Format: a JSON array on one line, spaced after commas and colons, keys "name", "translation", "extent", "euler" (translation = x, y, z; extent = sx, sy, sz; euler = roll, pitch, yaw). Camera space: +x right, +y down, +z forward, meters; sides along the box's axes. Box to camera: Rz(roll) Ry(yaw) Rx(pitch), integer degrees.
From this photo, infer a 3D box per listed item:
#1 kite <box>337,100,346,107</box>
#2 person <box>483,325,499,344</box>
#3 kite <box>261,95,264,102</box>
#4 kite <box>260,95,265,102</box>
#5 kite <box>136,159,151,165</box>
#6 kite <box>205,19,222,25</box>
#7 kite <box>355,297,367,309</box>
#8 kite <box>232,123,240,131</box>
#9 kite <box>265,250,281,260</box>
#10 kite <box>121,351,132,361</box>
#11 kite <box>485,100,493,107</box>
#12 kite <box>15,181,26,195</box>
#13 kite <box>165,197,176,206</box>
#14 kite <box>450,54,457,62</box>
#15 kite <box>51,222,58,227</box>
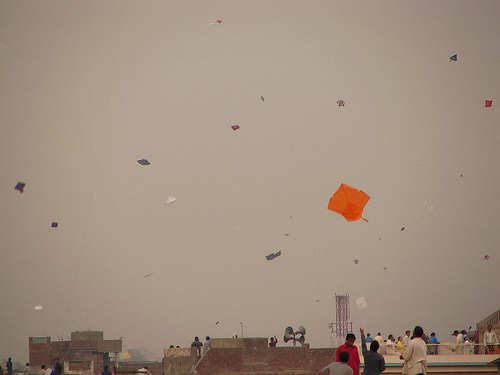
[{"name": "kite", "translation": [2.739, -2.508, 31.565], "extent": [0.130, 0.201, 0.085], "euler": [2, 1, 9]}, {"name": "person", "translation": [6.325, 3.837, 27.455], "extent": [0.355, 0.840, 0.242], "euler": [-1, -44, 10]}, {"name": "kite", "translation": [0.361, -2.675, 31.818], "extent": [0.122, 0.190, 0.075], "euler": [-8, 4, -2]}, {"name": "kite", "translation": [0.372, -2.675, 31.817], "extent": [0.109, 0.177, 0.078], "euler": [-4, -3, 7]}, {"name": "kite", "translation": [-3.255, -0.762, 31.942], "extent": [0.271, 0.168, 0.057], "euler": [3, -1, 2]}, {"name": "kite", "translation": [-1.106, -5.004, 32.089], "extent": [0.459, 0.139, 0.066], "euler": [-6, -28, 10]}, {"name": "kite", "translation": [3.254, 3.365, 30.772], "extent": [0.293, 0.312, 0.198], "euler": [-6, -28, 12]}, {"name": "kite", "translation": [-0.451, -1.801, 31.830], "extent": [0.161, 0.184, 0.061], "euler": [-1, -8, -1]}, {"name": "kite", "translation": [0.682, 2.030, 31.398], "extent": [0.537, 0.188, 0.247], "euler": [-17, -21, -5]}, {"name": "kite", "translation": [-3.696, 4.964, 31.213], "extent": [0.232, 0.194, 0.238], "euler": [-14, -32, 24]}, {"name": "kite", "translation": [7.155, -2.488, 31.368], "extent": [0.161, 0.191, 0.048], "euler": [1, -2, 14]}, {"name": "kite", "translation": [-7.055, 0.038, 32.076], "extent": [0.330, 0.433, 0.157], "euler": [-5, -27, 10]}, {"name": "kite", "translation": [-2.425, 0.424, 31.875], "extent": [0.226, 0.269, 0.097], "euler": [4, 7, -5]}, {"name": "kite", "translation": [6.125, -3.839, 31.513], "extent": [0.128, 0.212, 0.082], "euler": [0, -16, 12]}, {"name": "kite", "translation": [-5.966, 1.117, 31.830], "extent": [0.195, 0.132, 0.051], "euler": [3, -27, -5]}]
